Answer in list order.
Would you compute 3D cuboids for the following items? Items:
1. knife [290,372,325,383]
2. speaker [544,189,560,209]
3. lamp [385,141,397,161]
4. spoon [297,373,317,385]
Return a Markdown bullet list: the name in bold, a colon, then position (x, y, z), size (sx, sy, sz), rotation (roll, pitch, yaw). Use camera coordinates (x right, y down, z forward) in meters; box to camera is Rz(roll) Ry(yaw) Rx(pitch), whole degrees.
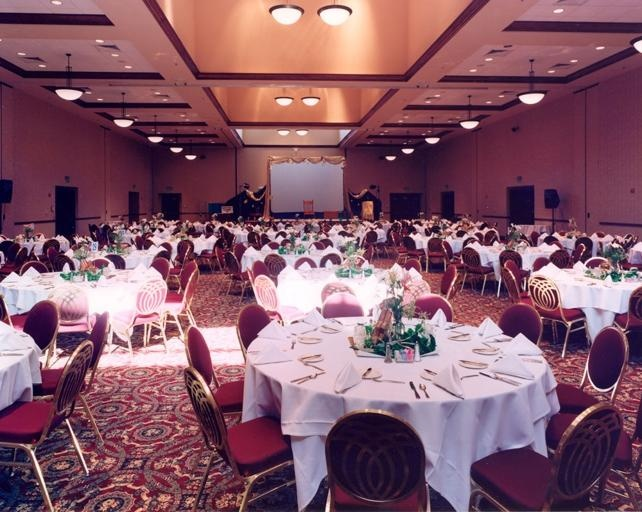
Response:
- **knife**: position (-0.079, 0.779, 3.182), size (0.209, 0.027, 0.064), rotation (-12, 13, -25)
- **speaker**: position (6.962, -1.719, 14.605), size (0.504, 0.716, 0.483), rotation (-1, 3, 12)
- **lamp**: position (3.488, -5.118, 23.840), size (0.726, 0.779, 1.642), rotation (1, 5, 8)
- **spoon**: position (-0.088, 0.808, 3.171), size (0.041, 0.026, 0.142), rotation (4, 17, 38)
